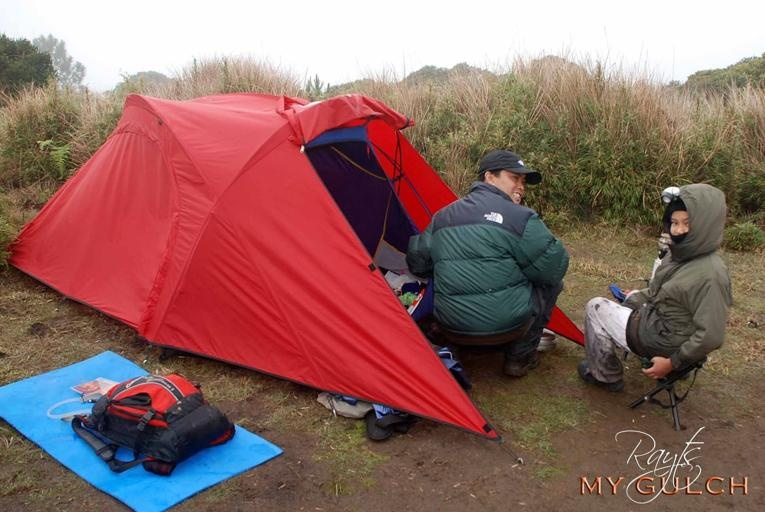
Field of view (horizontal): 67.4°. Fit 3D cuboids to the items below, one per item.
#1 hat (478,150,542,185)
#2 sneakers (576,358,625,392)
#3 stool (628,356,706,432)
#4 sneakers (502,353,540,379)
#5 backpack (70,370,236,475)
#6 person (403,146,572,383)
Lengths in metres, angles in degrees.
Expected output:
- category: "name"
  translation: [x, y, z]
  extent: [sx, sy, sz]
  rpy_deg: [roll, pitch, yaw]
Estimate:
- category: "hat"
  translation: [1.190, -0.912, 5.714]
  extent: [0.544, 0.261, 0.341]
  rpy_deg: [-4, -1, 7]
- category: "sneakers"
  translation: [2.169, 1.156, 5.773]
  extent: [0.431, 0.291, 0.196]
  rpy_deg: [7, 27, 38]
- category: "stool"
  translation: [2.653, 1.177, 5.305]
  extent: [0.570, 0.617, 0.548]
  rpy_deg: [4, 18, -47]
- category: "sneakers"
  translation: [1.394, 1.093, 5.876]
  extent: [0.339, 0.218, 0.222]
  rpy_deg: [-16, 20, -23]
- category: "backpack"
  translation: [-1.893, 1.325, 4.733]
  extent: [0.866, 0.299, 0.917]
  rpy_deg: [17, 19, 22]
- category: "person"
  translation: [1.093, 0.344, 5.529]
  extent: [1.244, 1.889, 0.647]
  rpy_deg: [-10, 20, 0]
